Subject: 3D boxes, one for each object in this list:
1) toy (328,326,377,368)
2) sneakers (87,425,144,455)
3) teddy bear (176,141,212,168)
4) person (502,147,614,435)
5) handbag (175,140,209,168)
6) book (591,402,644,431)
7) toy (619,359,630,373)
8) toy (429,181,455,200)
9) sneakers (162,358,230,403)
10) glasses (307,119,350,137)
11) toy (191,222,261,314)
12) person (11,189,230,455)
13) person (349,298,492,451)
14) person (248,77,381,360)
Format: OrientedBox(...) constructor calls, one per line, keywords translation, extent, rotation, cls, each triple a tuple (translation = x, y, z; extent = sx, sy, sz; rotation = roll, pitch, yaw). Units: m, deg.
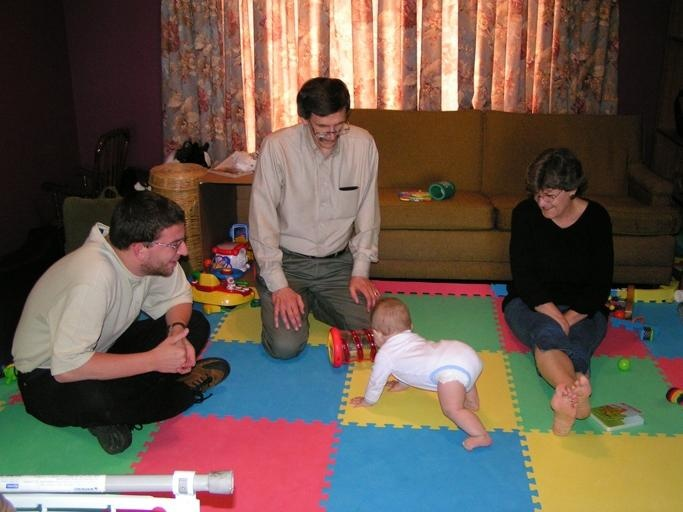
OrientedBox(translation=(0.065, 0.495, 3.134), extent=(0.306, 0.259, 0.214), rotation=(0, 9, -9), cls="toy")
OrientedBox(translation=(-1.083, 0.859, 2.685), extent=(0.119, 0.195, 0.045), rotation=(0, 39, -5), cls="sneakers")
OrientedBox(translation=(-1.297, -0.882, 4.910), extent=(0.240, 0.140, 0.299), rotation=(-10, 11, -40), cls="teddy bear")
OrientedBox(translation=(1.201, 0.140, 2.999), extent=(0.527, 1.203, 1.326), rotation=(0, 23, 16), cls="person")
OrientedBox(translation=(-1.281, -0.894, 4.977), extent=(0.235, 0.140, 0.307), rotation=(2, 12, -4), cls="handbag")
OrientedBox(translation=(1.397, 0.801, 2.851), extent=(0.264, 0.045, 0.159), rotation=(-6, 20, -14), cls="book")
OrientedBox(translation=(1.599, 0.611, 3.193), extent=(0.058, 0.062, 0.062), rotation=(-10, 17, 10), cls="toy")
OrientedBox(translation=(0.781, -0.510, 4.341), extent=(0.164, 0.108, 0.315), rotation=(12, 23, 33), cls="toy")
OrientedBox(translation=(-0.776, 0.657, 3.044), extent=(0.148, 0.128, 0.355), rotation=(27, 33, 35), cls="sneakers")
OrientedBox(translation=(-0.083, -0.686, 3.079), extent=(0.200, 0.094, 0.098), rotation=(3, 19, 11), cls="glasses")
OrientedBox(translation=(-0.790, 0.068, 4.059), extent=(0.336, 0.302, 0.595), rotation=(7, 28, 6), cls="toy")
OrientedBox(translation=(-1.140, 0.375, 2.927), extent=(0.762, 1.058, 0.813), rotation=(11, 33, -4), cls="person")
OrientedBox(translation=(0.434, 0.556, 2.825), extent=(0.765, 0.554, 0.382), rotation=(11, 15, 43), cls="person")
OrientedBox(translation=(-0.139, -0.239, 3.325), extent=(0.806, 1.549, 0.591), rotation=(-5, 19, -10), cls="person")
